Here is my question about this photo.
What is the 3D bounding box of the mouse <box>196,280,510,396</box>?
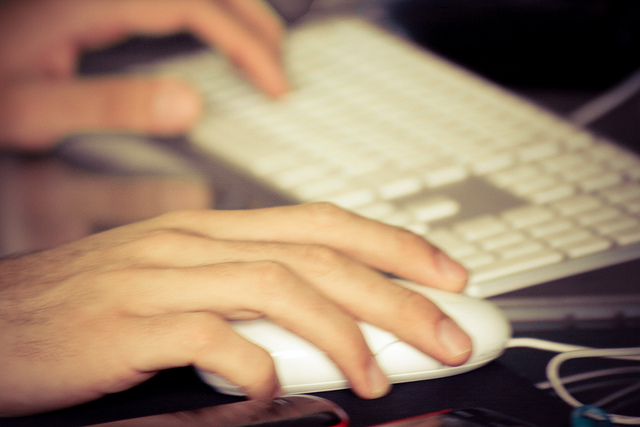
[{"bbox_3d":[0.034,0.105,0.531,0.274,0.096,0.046,-8,92,2],"label":"mouse"}]
